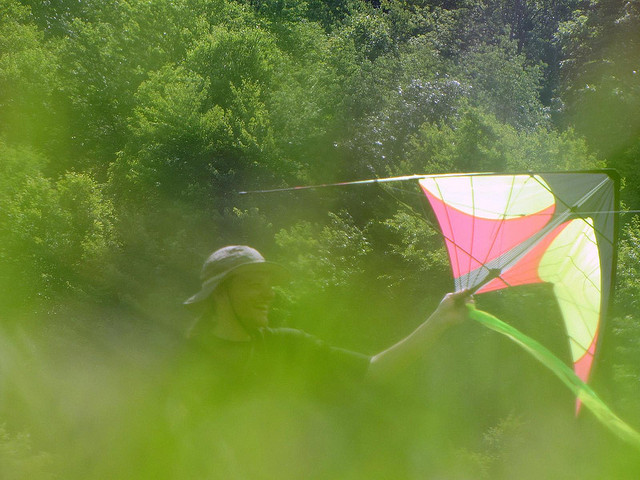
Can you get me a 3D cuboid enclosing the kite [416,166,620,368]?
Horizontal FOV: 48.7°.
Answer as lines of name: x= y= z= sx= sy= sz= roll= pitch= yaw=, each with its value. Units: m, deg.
kite: x=2.464 y=0.453 z=8.973 sx=2.562 sy=3.105 sz=0.808 roll=17 pitch=46 yaw=-21
